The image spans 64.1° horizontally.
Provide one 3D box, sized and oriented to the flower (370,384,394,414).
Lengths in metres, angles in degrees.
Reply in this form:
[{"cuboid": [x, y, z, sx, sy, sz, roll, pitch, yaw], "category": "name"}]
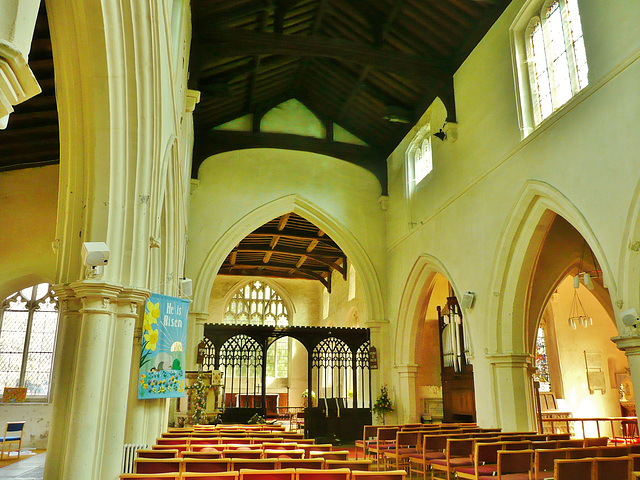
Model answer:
[{"cuboid": [1.653, 4.160, 13.350, 0.556, 0.819, 0.546, 13, -15, -30], "category": "flower"}]
